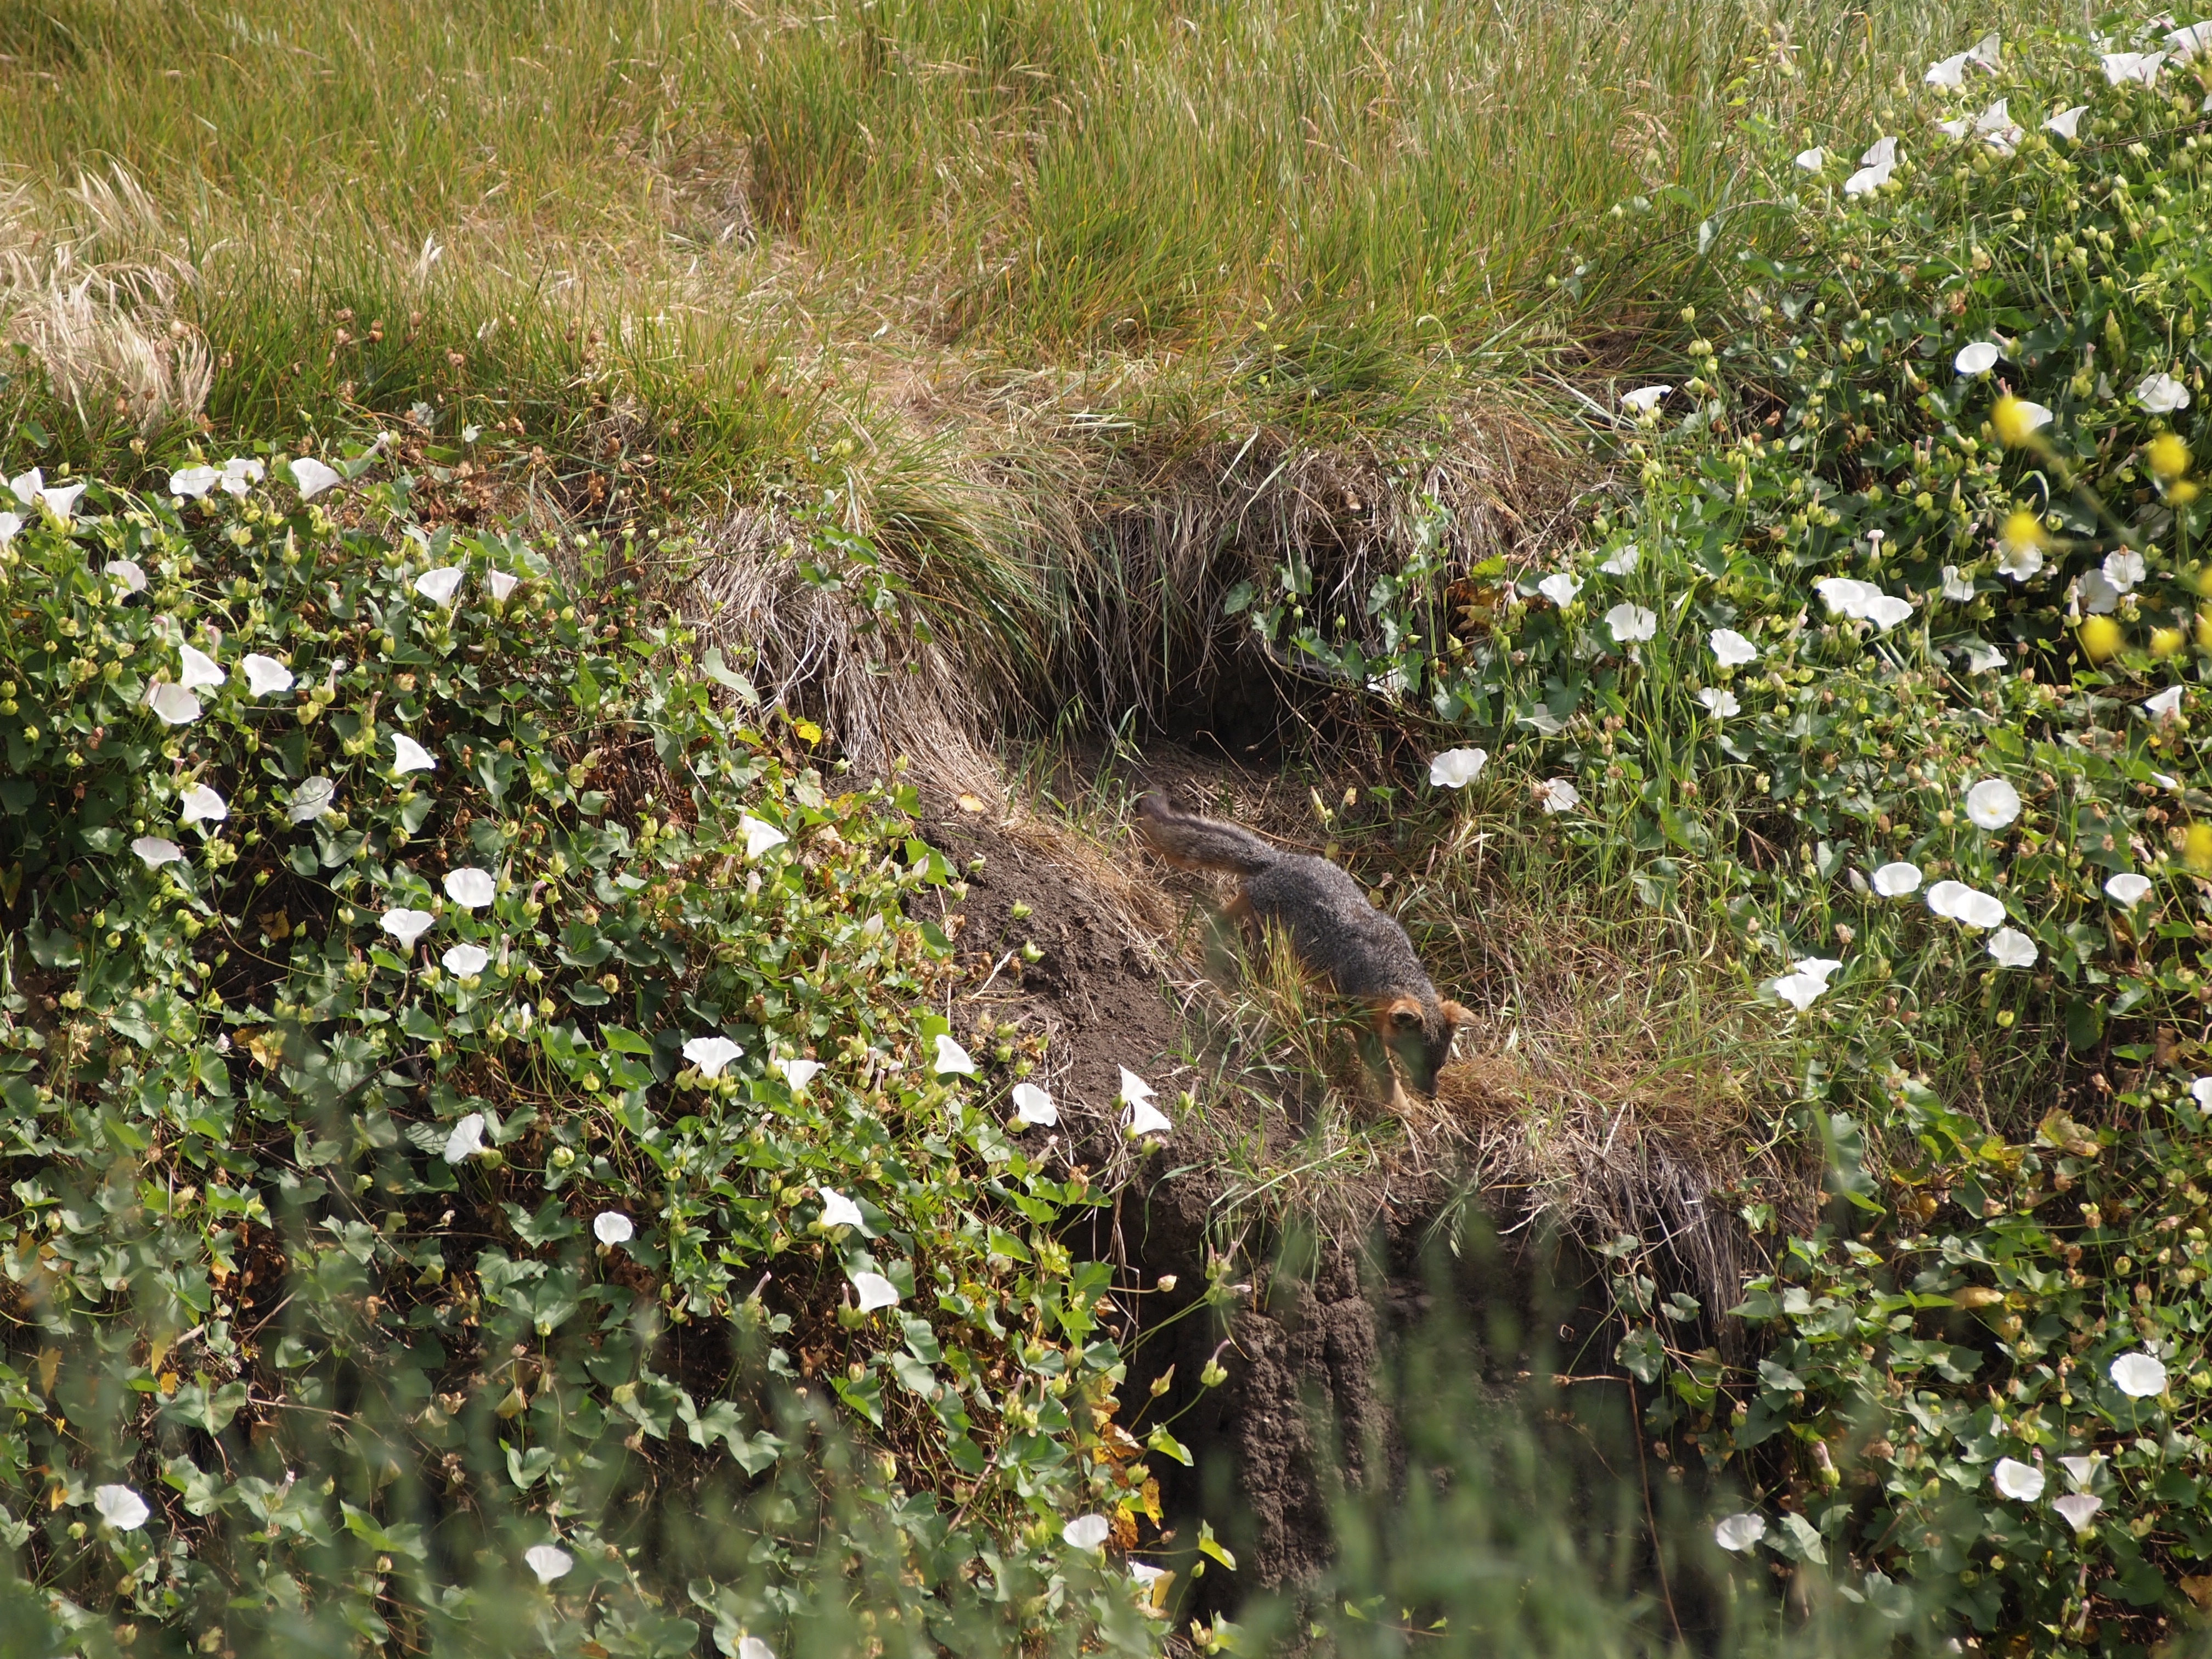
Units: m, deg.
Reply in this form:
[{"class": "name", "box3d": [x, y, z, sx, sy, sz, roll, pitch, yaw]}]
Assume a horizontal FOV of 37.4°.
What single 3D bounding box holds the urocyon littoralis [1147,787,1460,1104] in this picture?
[{"class": "urocyon littoralis", "box3d": [0.482, 0.209, 7.560, 0.283, 0.244, 0.994, -26, 55, -31]}]
